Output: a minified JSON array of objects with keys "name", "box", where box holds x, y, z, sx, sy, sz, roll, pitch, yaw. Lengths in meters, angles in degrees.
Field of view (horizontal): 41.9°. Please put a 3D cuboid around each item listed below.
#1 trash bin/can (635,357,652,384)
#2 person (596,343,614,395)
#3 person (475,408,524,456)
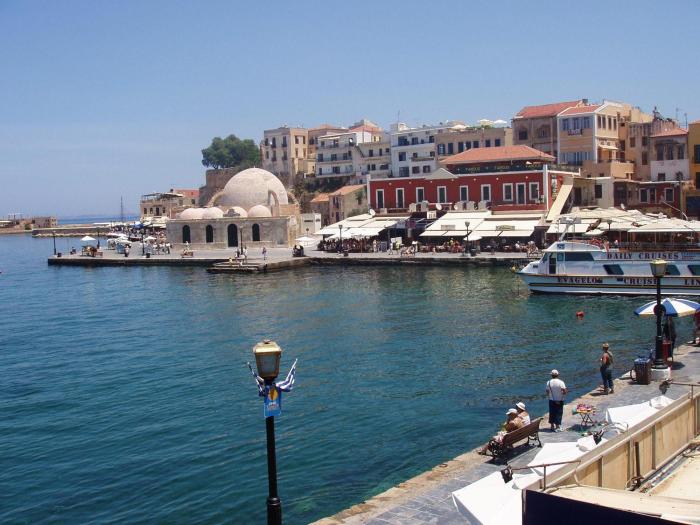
[{"name":"trash bin/can","box":[10.279,3.767,32.170,0.529,0.847,0.514,-3,6,18]},{"name":"person","box":[8.906,3.548,31.752,0.383,1.678,1.483,-4,5,15]},{"name":"person","box":[4.668,5.311,28.558,0.607,0.565,1.532,6,10,38]}]
